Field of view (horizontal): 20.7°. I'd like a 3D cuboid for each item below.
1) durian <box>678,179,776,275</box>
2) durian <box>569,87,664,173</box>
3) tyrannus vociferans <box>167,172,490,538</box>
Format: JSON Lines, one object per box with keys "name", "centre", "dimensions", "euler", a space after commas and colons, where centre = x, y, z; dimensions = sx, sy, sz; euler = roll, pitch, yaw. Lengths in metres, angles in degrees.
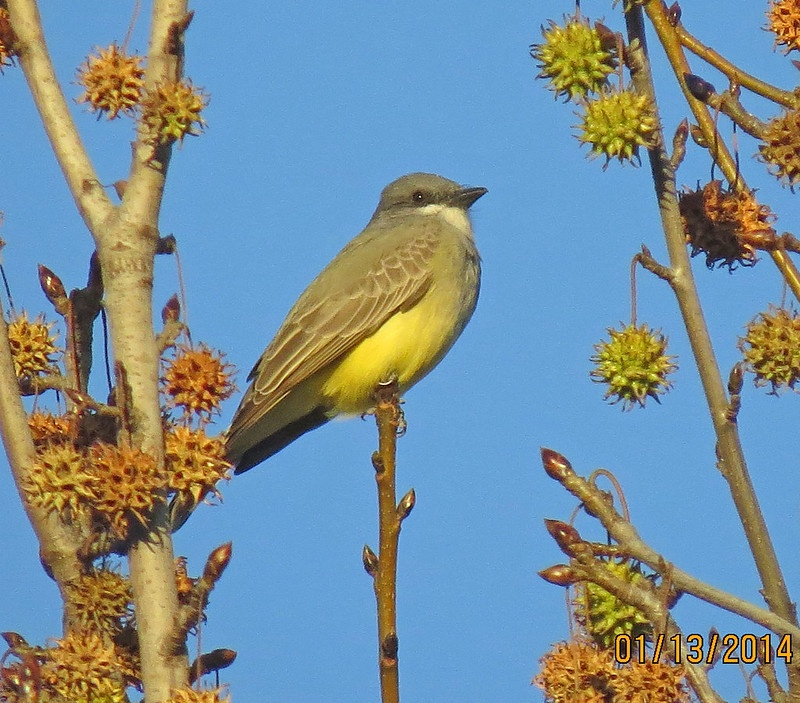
{"name": "durian", "centre": [1.315, -0.517, 8.746], "dimensions": [0.339, 0.231, 0.343], "euler": [-17, -59, 14]}
{"name": "durian", "centre": [0.842, -0.900, 8.430], "dimensions": [0.305, 0.297, 0.208], "euler": [-7, -56, 9]}
{"name": "tyrannus vociferans", "centre": [-0.415, -0.218, 11.290], "dimensions": [0.931, 1.572, 2.054], "euler": [-4, -76, 53]}
